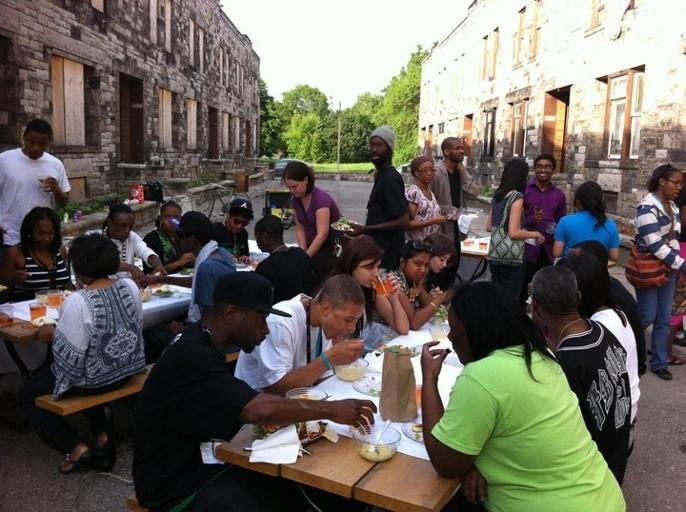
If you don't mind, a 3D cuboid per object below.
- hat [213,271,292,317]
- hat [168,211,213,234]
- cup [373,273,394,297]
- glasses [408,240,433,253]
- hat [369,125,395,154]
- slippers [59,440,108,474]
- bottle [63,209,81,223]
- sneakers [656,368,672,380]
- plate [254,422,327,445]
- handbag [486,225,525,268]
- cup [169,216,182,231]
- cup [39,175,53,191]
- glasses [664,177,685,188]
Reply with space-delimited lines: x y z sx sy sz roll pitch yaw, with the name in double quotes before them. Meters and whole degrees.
"hat" -0.509 0.201 2.490 0.293 0.161 0.195 9 -3 -10
"hat" -1.465 -0.334 4.489 0.295 0.164 0.224 7 14 9
"cup" 0.343 0.225 3.608 0.164 0.131 0.149 4 -4 -41
"glasses" 0.711 -0.093 4.296 0.174 0.056 0.176 -11 -11 35
"hat" 0.475 -1.420 5.518 0.293 0.302 0.278 -1 -1 5
"slippers" -2.159 1.680 3.826 0.340 0.152 0.134 -22 26 -10
"bottle" -6.072 -0.913 10.322 0.352 0.310 0.132 0 -8 2
"sneakers" 3.848 1.409 5.544 0.090 0.076 0.186 -19 7 -18
"plate" -0.248 0.932 2.442 0.191 0.043 0.184 -3 8 9
"handbag" 2.116 -0.130 5.912 0.524 0.766 0.220 -2 -4 28
"cup" -1.940 -0.389 5.326 0.168 0.073 0.302 -42 27 -2
"cup" -3.656 -0.906 5.655 0.233 0.170 0.132 11 16 38
"glasses" 3.906 -0.871 5.400 0.137 0.044 0.140 14 8 -41
